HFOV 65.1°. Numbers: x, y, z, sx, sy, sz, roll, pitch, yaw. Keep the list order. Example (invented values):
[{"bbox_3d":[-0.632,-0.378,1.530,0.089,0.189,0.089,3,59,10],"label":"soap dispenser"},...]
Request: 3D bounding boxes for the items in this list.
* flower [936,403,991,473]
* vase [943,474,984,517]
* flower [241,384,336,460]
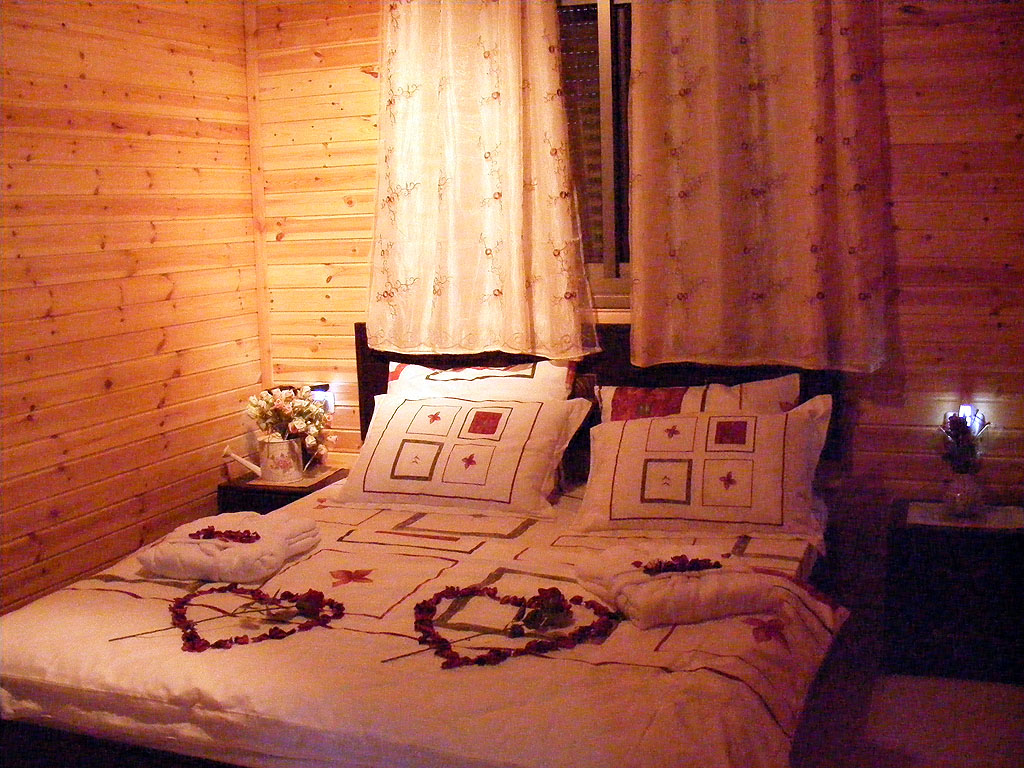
[{"bbox_3d":[1.713,0.191,3.044,0.162,0.233,0.163,-12,-45,46],"label":"flower"},{"bbox_3d":[1.674,0.414,3.066,0.163,0.150,0.145,1,4,1],"label":"vase"},{"bbox_3d":[-0.979,0.146,3.610,0.383,0.332,0.382,4,-2,-40],"label":"flower"}]
